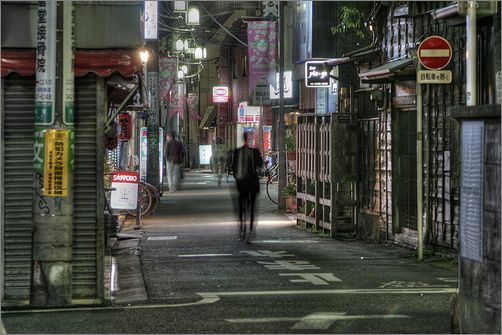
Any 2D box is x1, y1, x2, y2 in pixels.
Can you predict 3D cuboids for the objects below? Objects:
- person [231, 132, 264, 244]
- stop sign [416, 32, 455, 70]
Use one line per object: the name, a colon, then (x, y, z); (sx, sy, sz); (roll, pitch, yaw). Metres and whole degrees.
person: (-0.080, 0.387, 14.446); (0.689, 2.398, 1.171); (0, 3, -1)
stop sign: (3.450, -2.134, 11.665); (0.821, 0.928, 0.140); (-1, 5, 1)
